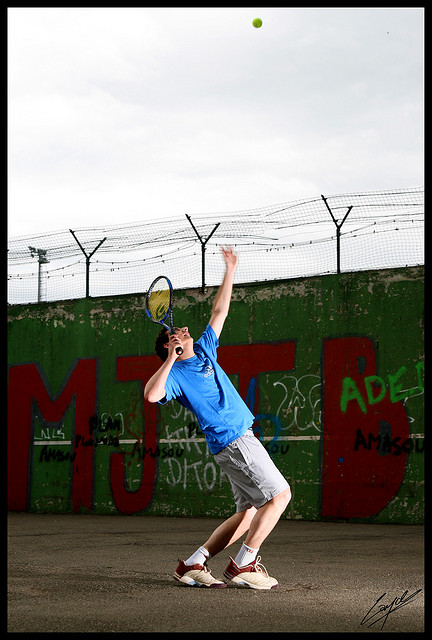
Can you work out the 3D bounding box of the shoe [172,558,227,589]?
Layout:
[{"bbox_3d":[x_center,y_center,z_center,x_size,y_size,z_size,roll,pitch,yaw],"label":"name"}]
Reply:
[{"bbox_3d":[-0.107,1.649,7.442,0.362,0.211,0.150,10,-9,-6],"label":"shoe"}]

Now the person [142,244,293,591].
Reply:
[{"bbox_3d":[0.044,0.731,7.532,0.832,2.066,0.694,-2,-4,-1],"label":"person"}]

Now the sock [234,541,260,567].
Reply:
[{"bbox_3d":[0.189,1.507,7.357,0.139,0.158,0.126,-2,-4,1],"label":"sock"}]

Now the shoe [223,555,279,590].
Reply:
[{"bbox_3d":[0.235,1.651,7.456,0.421,0.243,0.155,14,-9,-17],"label":"shoe"}]
